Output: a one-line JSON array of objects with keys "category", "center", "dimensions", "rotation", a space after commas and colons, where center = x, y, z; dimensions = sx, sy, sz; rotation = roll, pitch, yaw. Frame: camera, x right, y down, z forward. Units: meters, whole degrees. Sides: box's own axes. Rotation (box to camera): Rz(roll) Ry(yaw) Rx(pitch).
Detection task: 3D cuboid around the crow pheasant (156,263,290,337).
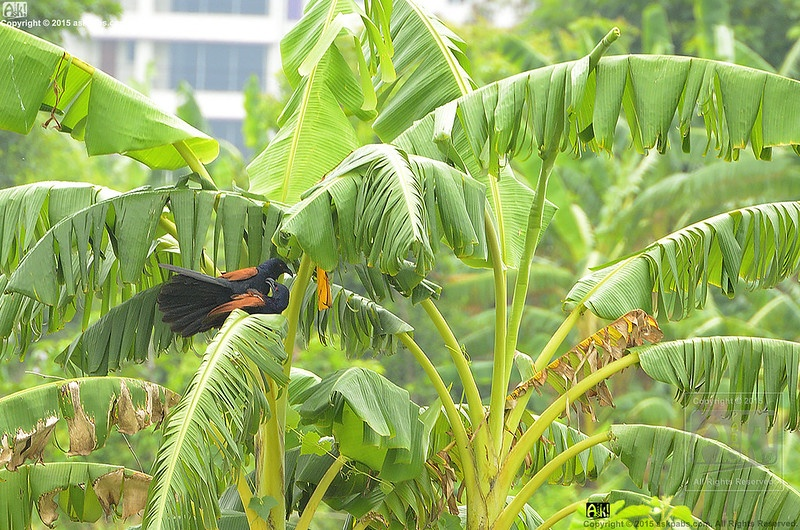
[{"category": "crow pheasant", "center": [-1.424, 0.222, 10.786], "dimensions": [1.106, 0.608, 0.570], "rotation": [0, 9, -4]}]
